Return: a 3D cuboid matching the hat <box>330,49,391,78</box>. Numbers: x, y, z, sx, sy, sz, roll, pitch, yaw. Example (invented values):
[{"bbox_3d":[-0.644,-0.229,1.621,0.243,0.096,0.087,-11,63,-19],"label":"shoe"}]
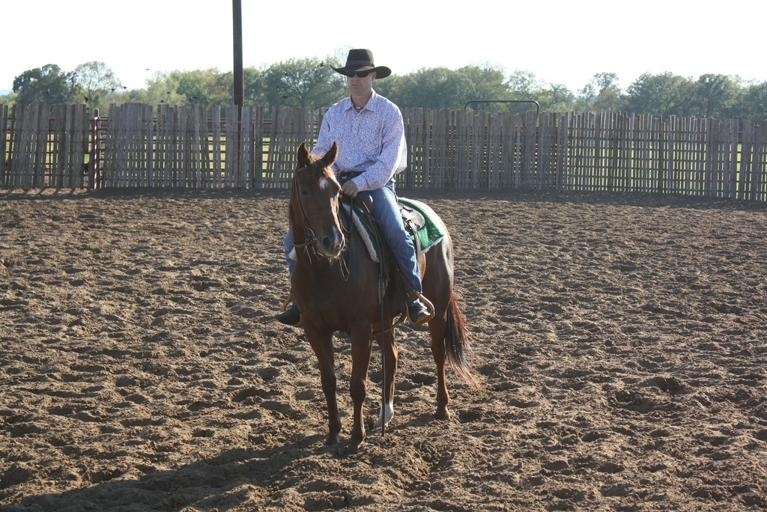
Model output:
[{"bbox_3d":[-0.308,-2.944,16.076,0.832,0.421,1.163,0,7,-2],"label":"hat"}]
